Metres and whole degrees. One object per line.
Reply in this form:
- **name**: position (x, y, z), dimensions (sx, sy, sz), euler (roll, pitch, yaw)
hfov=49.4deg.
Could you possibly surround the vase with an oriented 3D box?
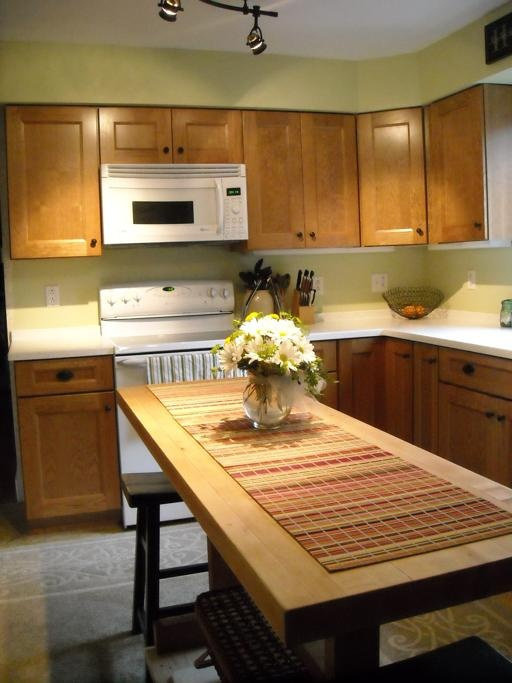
- **vase**: position (0.028, 0.147, 1.391), dimensions (0.128, 0.130, 0.113), euler (-2, 12, -8)

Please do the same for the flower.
- **flower**: position (0.029, 0.091, 1.386), dimensions (0.271, 0.270, 0.274), euler (-15, -12, 26)

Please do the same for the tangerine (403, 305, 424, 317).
- **tangerine**: position (1.003, -0.206, 3.536), dimensions (0.089, 0.037, 0.087), euler (-13, 20, -27)

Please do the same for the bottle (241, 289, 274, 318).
- **bottle**: position (0.013, -0.230, 3.319), dimensions (0.202, 0.187, 0.198), euler (1, 6, 2)
